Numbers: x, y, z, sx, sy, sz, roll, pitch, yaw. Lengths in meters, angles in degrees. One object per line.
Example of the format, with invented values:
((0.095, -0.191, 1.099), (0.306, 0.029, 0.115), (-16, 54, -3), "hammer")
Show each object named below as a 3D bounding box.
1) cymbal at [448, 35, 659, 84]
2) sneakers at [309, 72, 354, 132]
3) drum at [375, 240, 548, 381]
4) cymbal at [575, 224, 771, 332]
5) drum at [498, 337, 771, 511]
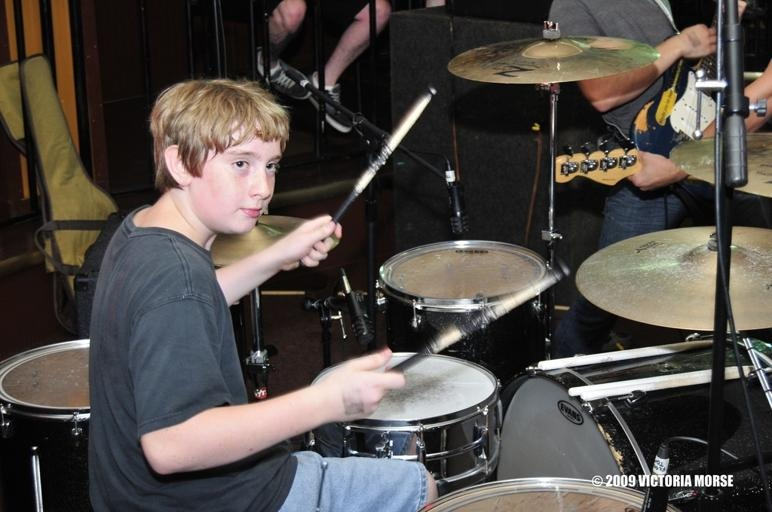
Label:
((0.760, -0.860, 3.252), (0.464, 0.108, 0.461), (16, 36, 38), "cymbal")
((-0.449, -1.154, 5.587), (0.246, 0.283, 0.655), (-12, 18, -1), "sneakers")
((0.350, 0.143, 3.320), (0.679, 0.609, 0.633), (-6, 23, -6), "drum")
((0.999, 0.078, 2.617), (0.510, 0.117, 0.500), (16, 36, 33), "cymbal")
((0.808, 0.547, 2.831), (0.644, 0.723, 0.587), (-9, 35, -19), "drum")
